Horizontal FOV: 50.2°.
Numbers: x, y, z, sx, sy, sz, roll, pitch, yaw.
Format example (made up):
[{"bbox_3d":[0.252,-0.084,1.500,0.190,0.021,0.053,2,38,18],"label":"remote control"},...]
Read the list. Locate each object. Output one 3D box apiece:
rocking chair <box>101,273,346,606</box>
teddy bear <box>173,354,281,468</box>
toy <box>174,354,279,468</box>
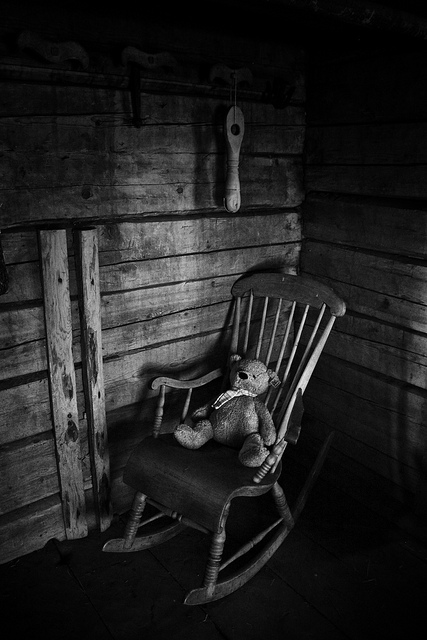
[{"bbox_3d":[0.068,0.389,1.686,0.508,1.150,0.849,10,4,30],"label":"rocking chair"},{"bbox_3d":[0.086,0.317,1.674,0.344,0.410,0.310,6,-7,41],"label":"teddy bear"},{"bbox_3d":[0.091,0.326,1.693,0.338,0.431,0.302,15,0,32],"label":"toy"}]
